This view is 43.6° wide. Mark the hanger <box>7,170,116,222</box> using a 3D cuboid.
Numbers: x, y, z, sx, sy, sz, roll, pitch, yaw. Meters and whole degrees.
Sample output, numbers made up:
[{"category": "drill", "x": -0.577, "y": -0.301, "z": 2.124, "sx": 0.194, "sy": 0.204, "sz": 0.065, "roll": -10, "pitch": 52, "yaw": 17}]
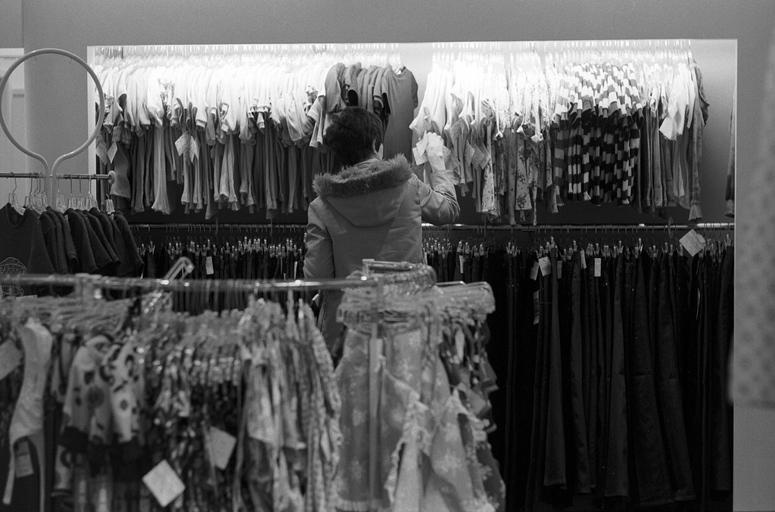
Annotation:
[{"category": "hanger", "x": -1.998, "y": -0.404, "z": 5.969, "sx": 0.606, "sy": 0.260, "sz": 1.360, "roll": -3, "pitch": 7, "yaw": -16}]

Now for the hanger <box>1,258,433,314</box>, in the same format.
[{"category": "hanger", "x": -0.818, "y": 0.143, "z": 4.594, "sx": 1.629, "sy": 0.223, "sz": 0.277, "roll": 0, "pitch": -3, "yaw": -4}]

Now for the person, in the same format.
[{"category": "person", "x": -0.009, "y": -0.059, "z": 5.566, "sx": 0.919, "sy": 0.616, "sz": 2.080, "roll": -15, "pitch": -41, "yaw": -8}]
